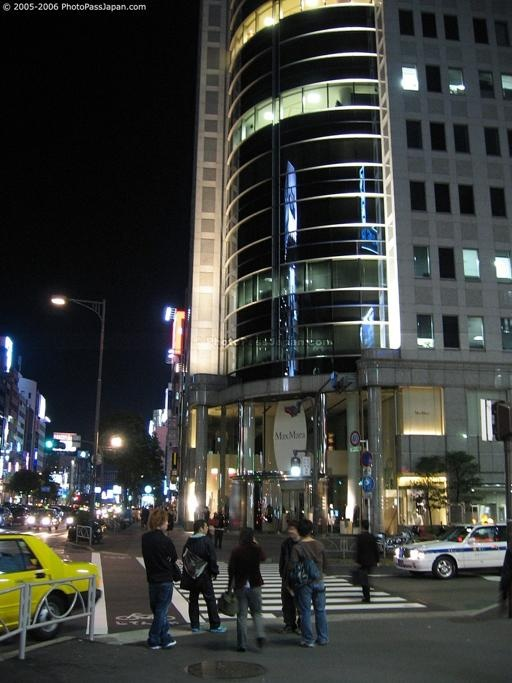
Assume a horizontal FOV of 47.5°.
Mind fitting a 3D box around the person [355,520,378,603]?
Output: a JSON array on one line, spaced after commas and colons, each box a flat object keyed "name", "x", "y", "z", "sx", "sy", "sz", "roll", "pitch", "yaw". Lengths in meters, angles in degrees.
[{"name": "person", "x": 2.433, "y": 4.769, "z": 12.776, "sx": 0.490, "sy": 1.704, "sz": 2.010, "roll": -2, "pitch": -13, "yaw": 9}]

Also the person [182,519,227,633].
[{"name": "person", "x": -0.744, "y": 3.323, "z": 8.282, "sx": 0.598, "sy": 1.553, "sz": 0.816, "roll": 1, "pitch": -12, "yaw": -4}]

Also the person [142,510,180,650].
[{"name": "person", "x": -1.144, "y": 2.834, "z": 7.017, "sx": 0.462, "sy": 1.600, "sz": 0.505, "roll": 2, "pitch": -12, "yaw": -10}]

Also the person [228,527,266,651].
[{"name": "person", "x": -0.111, "y": 3.105, "z": 7.372, "sx": 0.440, "sy": 1.430, "sz": 0.898, "roll": 0, "pitch": -12, "yaw": 1}]
